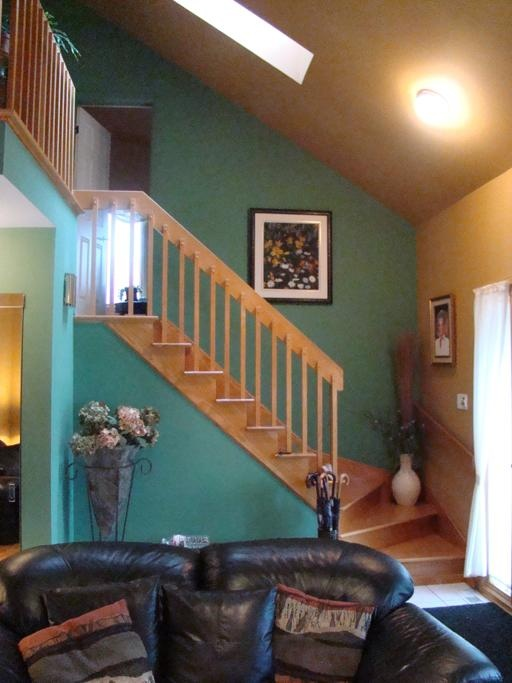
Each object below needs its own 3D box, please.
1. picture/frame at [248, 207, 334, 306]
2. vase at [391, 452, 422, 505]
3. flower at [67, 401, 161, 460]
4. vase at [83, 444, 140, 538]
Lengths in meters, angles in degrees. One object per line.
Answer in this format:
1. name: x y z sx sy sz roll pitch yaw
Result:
1. picture/frame: 0.267 -0.701 5.421 0.879 0.986 0.067 1 -4 -7
2. vase: 1.180 1.093 5.056 0.232 0.407 0.284 1 0 14
3. flower: -0.832 0.477 3.566 0.362 0.276 0.460 15 -7 12
4. vase: -0.810 0.842 3.516 0.297 0.469 0.318 -9 -12 31
